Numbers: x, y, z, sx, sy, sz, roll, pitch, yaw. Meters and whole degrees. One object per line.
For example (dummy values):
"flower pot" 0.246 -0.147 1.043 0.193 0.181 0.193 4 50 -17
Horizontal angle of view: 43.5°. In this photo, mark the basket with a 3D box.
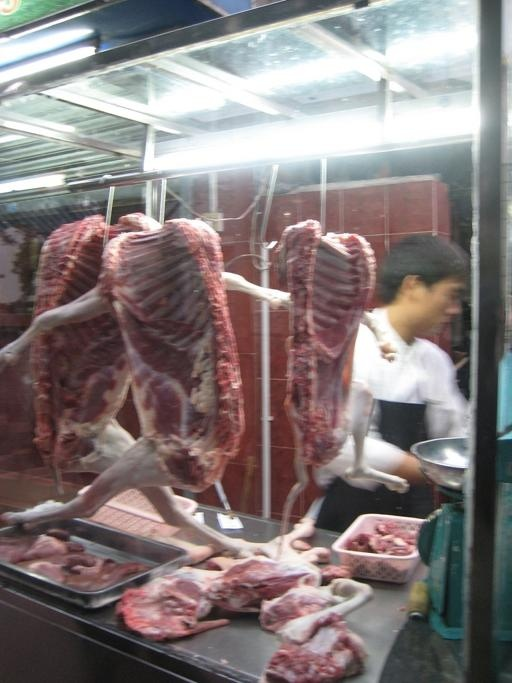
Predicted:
"basket" 0.264 0.442 1.388 0.166 0.053 0.177 0 4 23
